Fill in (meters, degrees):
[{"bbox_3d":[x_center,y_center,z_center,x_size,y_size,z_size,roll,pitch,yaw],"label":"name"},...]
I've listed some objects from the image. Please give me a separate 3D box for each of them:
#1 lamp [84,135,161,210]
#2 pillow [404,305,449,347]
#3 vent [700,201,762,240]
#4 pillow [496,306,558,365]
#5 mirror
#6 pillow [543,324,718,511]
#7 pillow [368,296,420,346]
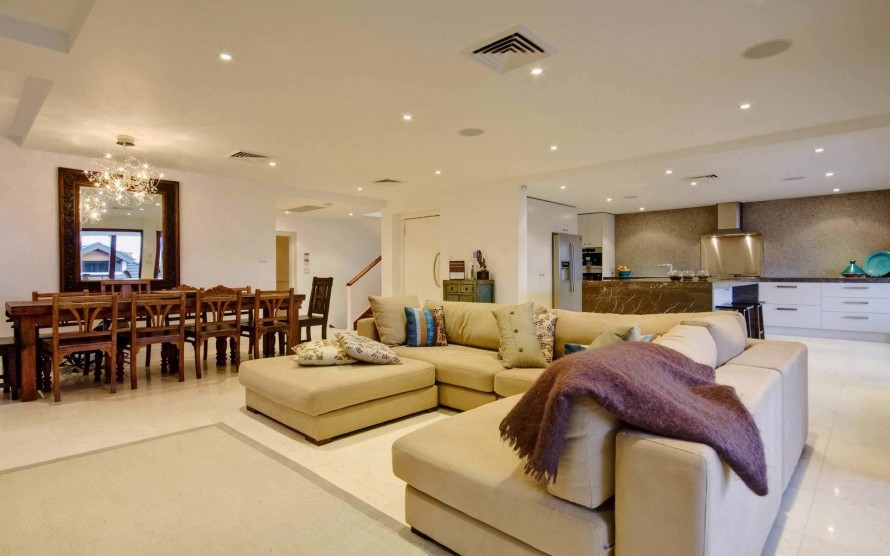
[{"bbox_3d":[-4.540,-1.589,7.785,0.965,0.831,0.935,3,-11,-27],"label":"lamp"},{"bbox_3d":[-0.224,0.554,6.245,0.463,0.404,0.163,2,-23,-18],"label":"pillow"},{"bbox_3d":[5.612,-1.125,10.667,0.782,0.524,0.773,1,4,36],"label":"vent"},{"bbox_3d":[0.801,0.582,5.485,0.613,0.564,0.271,3,-22,9],"label":"pillow"},{"bbox_3d":[-4.845,-0.735,7.997,0.173,2.295,2.015,-2,-1,39],"label":"mirror"},{"bbox_3d":[1.236,0.956,3.597,0.346,0.431,1.151,7,14,37],"label":"pillow"},{"bbox_3d":[-0.586,0.497,6.252,0.281,0.431,0.551,14,10,41],"label":"pillow"}]
